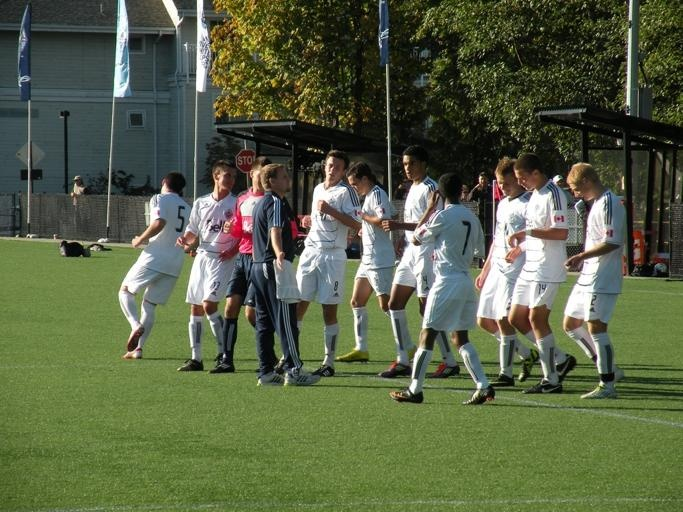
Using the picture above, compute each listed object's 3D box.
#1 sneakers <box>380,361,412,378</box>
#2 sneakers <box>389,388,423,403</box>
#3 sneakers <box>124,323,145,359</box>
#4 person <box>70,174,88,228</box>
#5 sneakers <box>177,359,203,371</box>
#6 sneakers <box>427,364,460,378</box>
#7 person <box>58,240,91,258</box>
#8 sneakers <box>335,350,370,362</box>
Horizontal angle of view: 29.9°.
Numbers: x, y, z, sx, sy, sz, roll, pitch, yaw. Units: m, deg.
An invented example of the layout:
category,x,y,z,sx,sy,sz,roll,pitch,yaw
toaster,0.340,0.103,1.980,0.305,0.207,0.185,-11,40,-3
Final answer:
category,x,y,z,sx,sy,sz,roll,pitch,yaw
sneakers,0.751,1.570,17.384,0.508,0.270,0.178,0,-1,-7
sneakers,0.813,1.780,16.073,0.387,0.202,0.172,6,1,12
sneakers,-2.934,1.245,18.154,0.186,0.534,0.236,15,10,-25
person,-8.346,-1.749,40.627,0.449,1.663,1.243,2,0,-12
sneakers,-2.065,1.522,17.642,0.368,0.173,0.139,1,-1,-5
sneakers,1.403,1.588,17.567,0.442,0.216,0.167,-2,-1,-11
person,-6.921,-0.181,33.511,0.745,0.419,0.636,2,0,-11
sneakers,0.160,1.424,18.365,0.473,0.270,0.179,2,0,1
